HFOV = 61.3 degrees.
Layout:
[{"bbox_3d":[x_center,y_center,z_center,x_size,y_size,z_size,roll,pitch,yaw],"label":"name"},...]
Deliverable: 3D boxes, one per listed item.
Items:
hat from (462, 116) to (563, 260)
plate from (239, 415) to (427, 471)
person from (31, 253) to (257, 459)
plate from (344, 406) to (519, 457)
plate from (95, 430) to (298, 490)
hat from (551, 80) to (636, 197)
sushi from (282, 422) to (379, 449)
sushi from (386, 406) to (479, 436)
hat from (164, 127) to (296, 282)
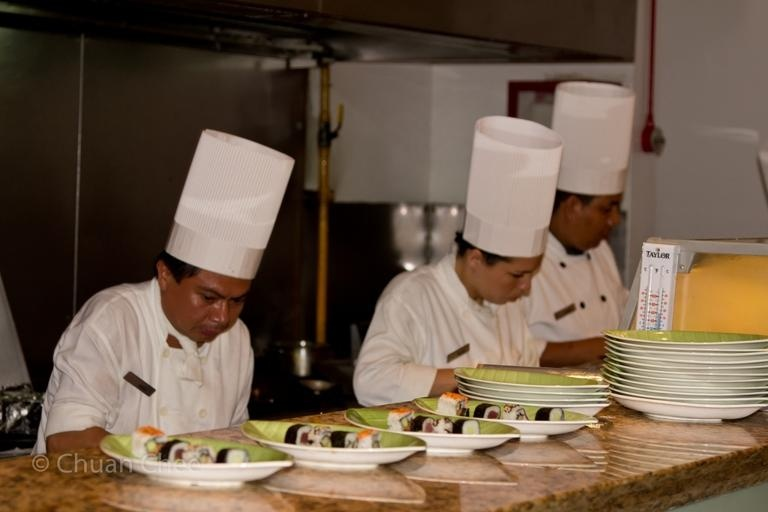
[{"bbox_3d":[0.429,-0.187,2.339,0.286,0.505,0.332,-16,44,-23],"label":"hat"},{"bbox_3d":[-0.110,0.378,1.303,0.400,0.064,0.200,6,-3,2],"label":"plate"},{"bbox_3d":[-0.744,0.347,2.077,0.589,0.744,0.471,0,14,-23],"label":"person"},{"bbox_3d":[0.084,0.372,1.367,0.370,0.062,0.177,7,2,-13],"label":"plate"},{"bbox_3d":[-0.366,0.378,1.212,0.396,0.075,0.300,9,-8,-18],"label":"plate"},{"bbox_3d":[0.956,-0.536,2.982,0.379,0.519,0.181,2,5,3],"label":"hat"},{"bbox_3d":[-0.100,0.356,1.286,0.113,0.022,0.073,2,-1,5],"label":"sushi"},{"bbox_3d":[0.100,0.356,1.390,0.081,0.029,0.088,0,-1,41],"label":"sushi"},{"bbox_3d":[-0.467,-0.148,1.937,0.373,0.433,0.090,3,5,15],"label":"hat"}]
